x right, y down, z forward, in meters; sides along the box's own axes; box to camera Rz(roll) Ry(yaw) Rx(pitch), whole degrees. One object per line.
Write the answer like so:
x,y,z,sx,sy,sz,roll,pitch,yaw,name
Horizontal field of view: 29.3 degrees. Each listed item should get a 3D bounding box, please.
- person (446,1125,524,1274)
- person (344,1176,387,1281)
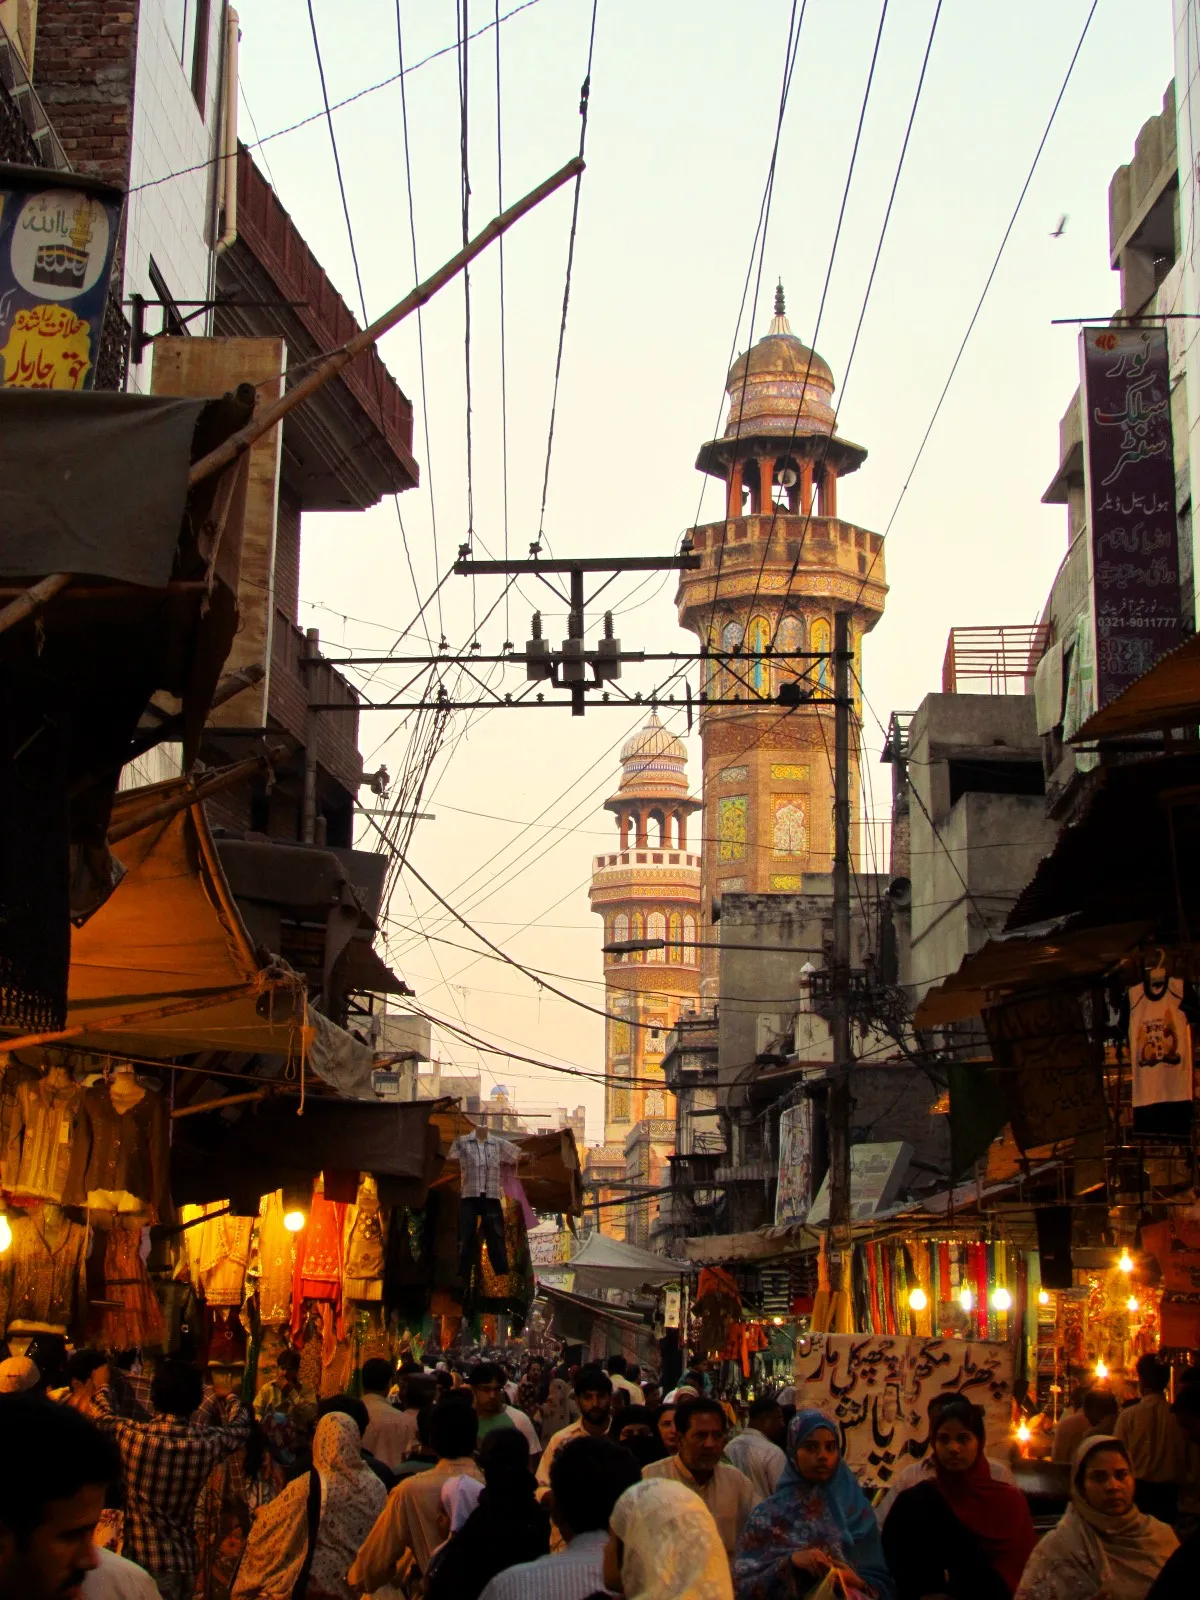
-0.922,3.194,18.483,0.555,1.342,0.205,2,-44,-3,person
-1.664,3.099,16.180,0.279,0.916,0.312,-9,-16,38,person
